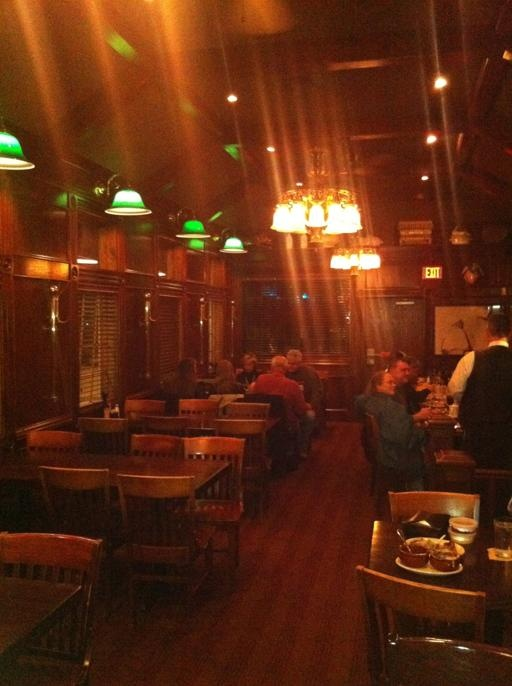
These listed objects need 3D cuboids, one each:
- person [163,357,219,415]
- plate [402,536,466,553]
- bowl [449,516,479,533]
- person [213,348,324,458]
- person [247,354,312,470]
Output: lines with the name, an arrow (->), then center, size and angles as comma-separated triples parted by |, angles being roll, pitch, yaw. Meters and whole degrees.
person -> -0.858, 0.516, 7.432 | 0.684, 0.879, 0.605 | 1, 4, 14
plate -> 0.722, 0.815, 2.446 | 0.115, 0.023, 0.112 | 5, -2, -14
bowl -> 0.928, 0.806, 2.660 | 0.109, 0.038, 0.118 | 0, 4, 0
person -> 0.163, 0.718, 7.045 | 1.109, 1.791, 1.044 | 4, 15, 19
person -> 0.306, 0.773, 7.111 | 0.686, 1.204, 0.657 | 8, 18, 35
